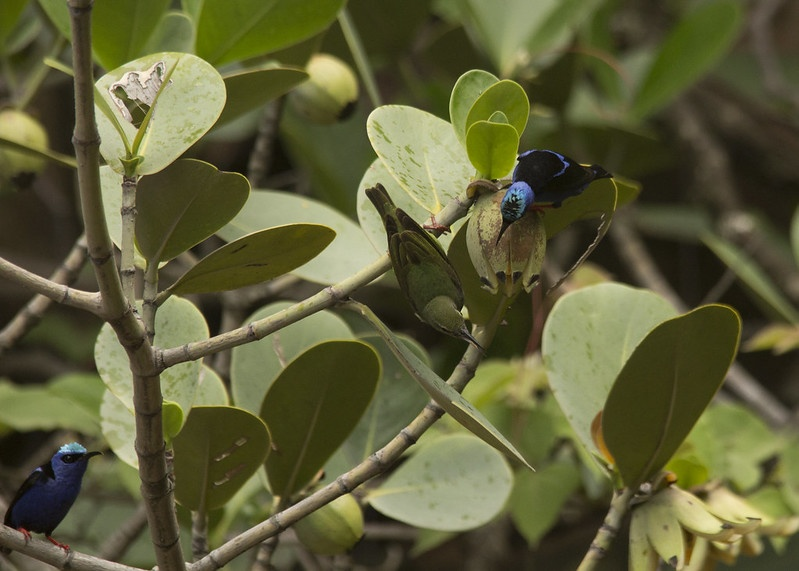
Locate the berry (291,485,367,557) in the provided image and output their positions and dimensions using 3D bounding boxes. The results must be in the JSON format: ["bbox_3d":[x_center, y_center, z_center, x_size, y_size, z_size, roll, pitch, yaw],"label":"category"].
[{"bbox_3d":[-0.080,0.292,1.370,0.085,0.075,0.072,13,-17,-30],"label":"berry"}]

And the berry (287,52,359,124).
[{"bbox_3d":[-0.112,-0.296,1.709,0.096,0.113,0.076,-12,47,-10],"label":"berry"}]

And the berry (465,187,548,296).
[{"bbox_3d":[0.120,-0.057,1.232,0.086,0.140,0.123,3,11,-2],"label":"berry"}]
